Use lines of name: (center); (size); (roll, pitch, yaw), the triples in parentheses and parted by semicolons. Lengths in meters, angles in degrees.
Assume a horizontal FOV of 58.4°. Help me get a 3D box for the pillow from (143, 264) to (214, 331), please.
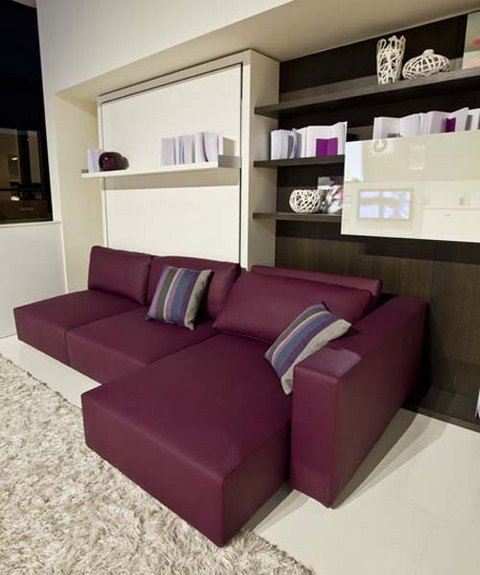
pillow: (-0.365, 0.056, 2.644); (0.369, 0.387, 0.114); (9, -11, 43)
